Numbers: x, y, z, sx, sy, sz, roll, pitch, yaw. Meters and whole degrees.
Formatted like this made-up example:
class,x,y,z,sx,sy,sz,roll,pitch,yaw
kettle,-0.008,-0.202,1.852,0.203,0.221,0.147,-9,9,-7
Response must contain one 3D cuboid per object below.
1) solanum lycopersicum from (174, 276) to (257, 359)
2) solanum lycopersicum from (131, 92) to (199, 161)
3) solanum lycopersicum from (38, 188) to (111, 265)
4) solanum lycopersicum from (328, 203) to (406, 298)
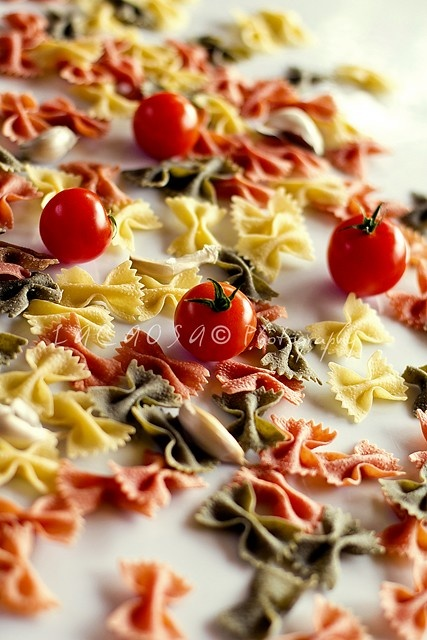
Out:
class,x,y,z,sx,sy,sz,roll,pitch,yaw
solanum lycopersicum,-0.001,0.002,0.896,0.082,0.087,0.073,-27,54,-27
solanum lycopersicum,-0.088,-0.373,1.252,0.149,0.131,0.127,0,90,16
solanum lycopersicum,-0.213,-0.146,0.994,0.117,0.107,0.108,7,82,-5
solanum lycopersicum,0.247,-0.107,1.063,0.123,0.135,0.111,-24,44,-14
